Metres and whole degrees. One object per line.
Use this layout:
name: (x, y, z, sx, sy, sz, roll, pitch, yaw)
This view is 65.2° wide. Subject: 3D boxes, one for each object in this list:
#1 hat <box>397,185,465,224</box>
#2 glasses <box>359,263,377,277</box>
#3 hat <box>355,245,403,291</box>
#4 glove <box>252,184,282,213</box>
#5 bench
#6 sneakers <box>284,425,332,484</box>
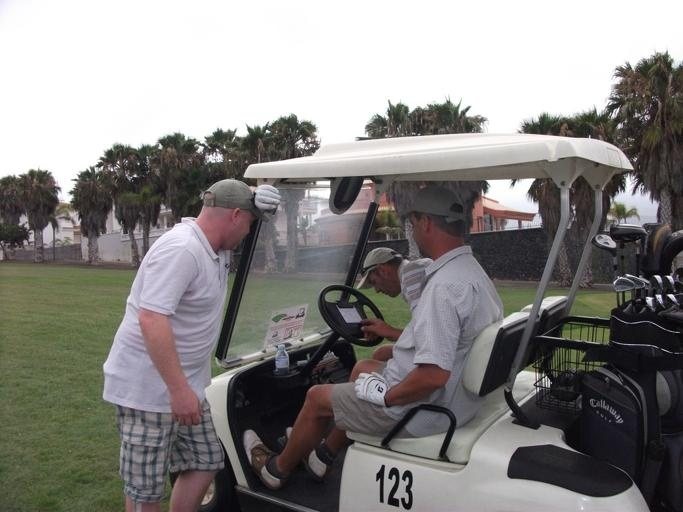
hat: (0.506, -0.277, 2.860, 0.241, 0.147, 0.182, 20, 11, 22)
glasses: (0.184, 0.106, 3.700, 0.078, 0.035, 0.073, -20, -14, -4)
hat: (0.249, 0.070, 3.740, 0.310, 0.182, 0.228, -31, 0, 7)
glove: (-0.382, -0.288, 2.814, 0.129, 0.130, 0.149, 3, -30, 7)
bench: (0.632, 0.493, 2.765, 0.785, 0.602, 0.831, -4, -5, 30)
sneakers: (-0.179, 1.156, 3.152, 0.133, 0.194, 0.408, 6, 6, -11)
